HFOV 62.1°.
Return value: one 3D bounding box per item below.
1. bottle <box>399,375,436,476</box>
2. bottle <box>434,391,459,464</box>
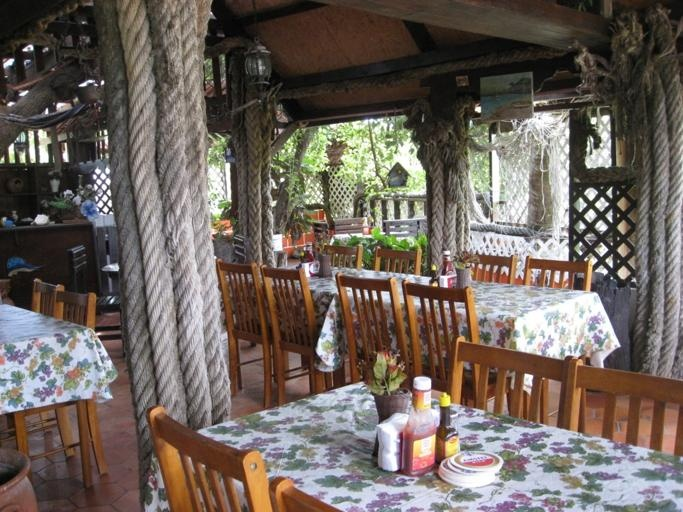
[{"bbox_3d":[0.226,0.504,1.693,0.102,0.295,0.081,-1,12,7],"label":"bottle"},{"bbox_3d":[0.331,0.515,1.772,0.070,0.220,0.173,0,12,12],"label":"bottle"}]
